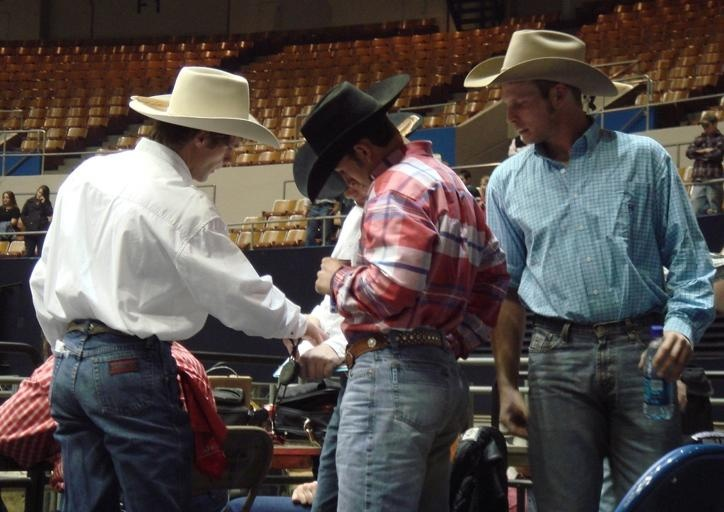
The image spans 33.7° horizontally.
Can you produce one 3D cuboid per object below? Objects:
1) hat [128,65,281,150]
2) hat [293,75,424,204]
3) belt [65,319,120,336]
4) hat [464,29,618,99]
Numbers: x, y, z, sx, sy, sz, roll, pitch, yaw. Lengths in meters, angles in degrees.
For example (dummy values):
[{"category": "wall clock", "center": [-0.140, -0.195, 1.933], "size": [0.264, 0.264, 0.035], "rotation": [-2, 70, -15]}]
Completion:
[{"category": "hat", "center": [-0.748, -0.804, 5.950], "size": [0.796, 0.254, 0.683], "rotation": [1, 21, -32]}, {"category": "hat", "center": [-0.023, -0.544, 5.372], "size": [0.505, 0.506, 0.254], "rotation": [-5, 1, 1]}, {"category": "belt", "center": [-1.255, 0.323, 5.471], "size": [0.123, 0.039, 0.120], "rotation": [1, -11, 20]}, {"category": "hat", "center": [0.912, -0.927, 5.798], "size": [0.741, 0.234, 0.573], "rotation": [7, 3, 7]}]
